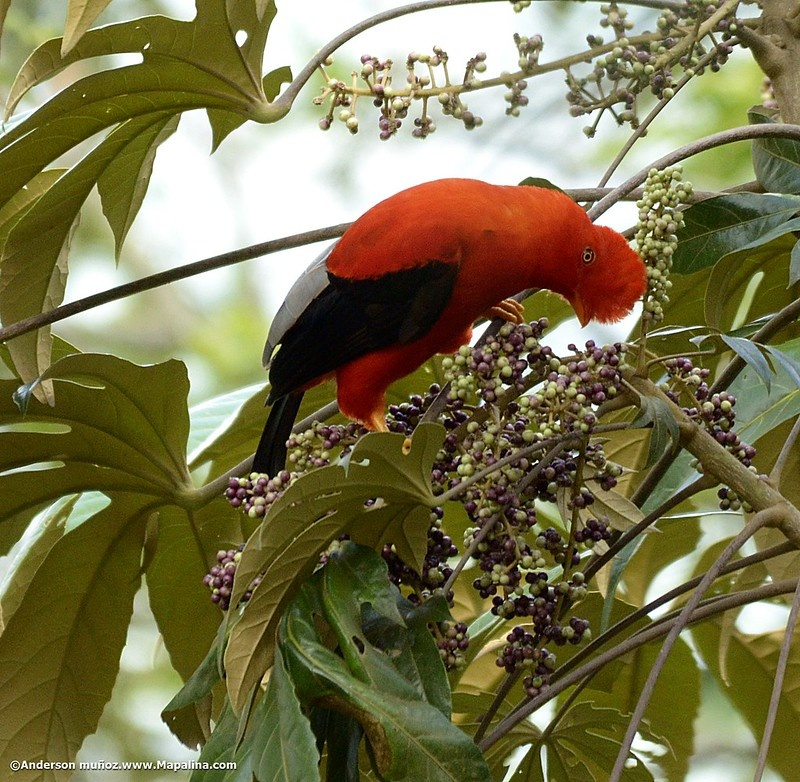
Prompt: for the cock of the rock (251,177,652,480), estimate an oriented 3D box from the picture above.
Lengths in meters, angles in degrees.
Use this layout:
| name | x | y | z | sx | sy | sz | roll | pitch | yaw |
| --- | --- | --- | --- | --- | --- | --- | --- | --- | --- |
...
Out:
| name | x | y | z | sx | sy | sz | roll | pitch | yaw |
| --- | --- | --- | --- | --- | --- | --- | --- | --- | --- |
| cock of the rock | 0.074 | -0.129 | 2.195 | 0.697 | 0.341 | 0.458 | -9 | -93 | 11 |
